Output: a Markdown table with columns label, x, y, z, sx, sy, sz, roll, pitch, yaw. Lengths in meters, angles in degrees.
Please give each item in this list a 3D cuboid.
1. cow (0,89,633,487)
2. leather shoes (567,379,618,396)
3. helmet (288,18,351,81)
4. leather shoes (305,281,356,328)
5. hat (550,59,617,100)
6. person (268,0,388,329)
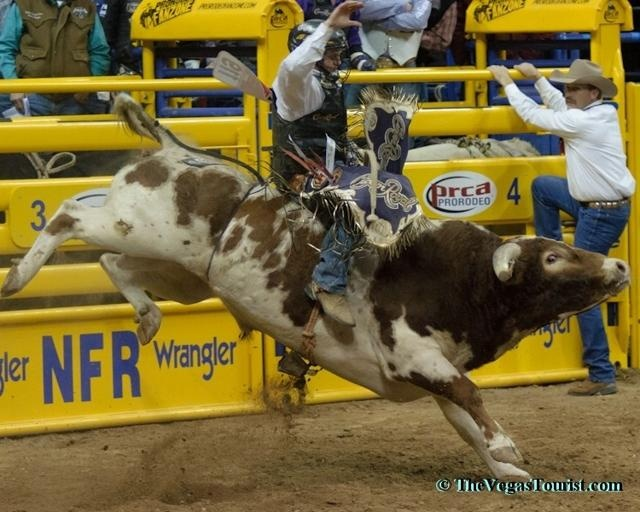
| label | x | y | z | sx | sy | sz | roll | pitch | yaw |
| --- | --- | --- | --- | --- | --- | --- | --- | --- | --- |
| cow | 0.094 | 0.346 | 9.063 | 3.663 | 1.923 | 0.797 | 6 | 28 | 18 |
| leather shoes | 2.160 | 1.037 | 10.492 | 0.389 | 0.156 | 0.134 | 2 | -6 | 12 |
| helmet | 0.025 | -1.387 | 8.897 | 0.474 | 0.362 | 0.338 | -11 | 33 | 7 |
| leather shoes | 0.101 | 0.319 | 8.747 | 0.392 | 0.167 | 0.182 | 36 | 16 | -2 |
| hat | 2.091 | -1.365 | 10.283 | 0.438 | 0.148 | 0.405 | 10 | -1 | -26 |
| person | 0.021 | -0.697 | 8.785 | 0.646 | 1.900 | 0.998 | -6 | 26 | -4 |
